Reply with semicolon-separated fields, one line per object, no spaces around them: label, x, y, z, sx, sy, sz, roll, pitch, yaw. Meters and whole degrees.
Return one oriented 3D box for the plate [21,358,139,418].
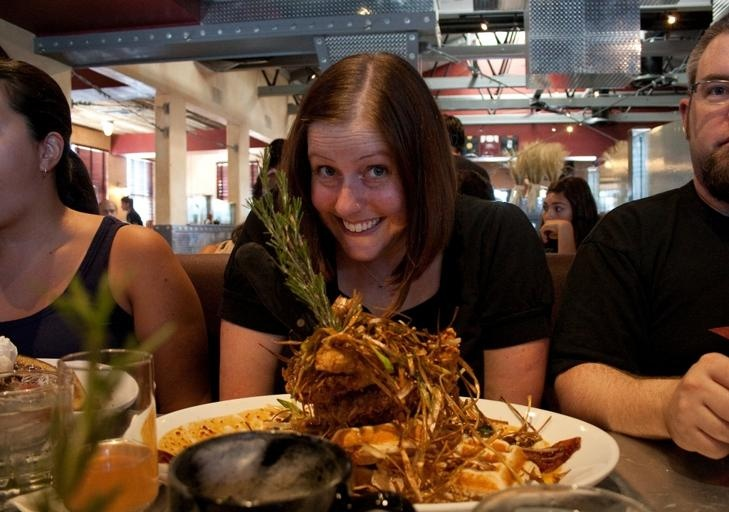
plate;-0.399;0.191;0.795;0.121;0.035;0.114;7;7;-4

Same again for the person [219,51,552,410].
person;0.045;-0.050;1.510;0.870;0.949;0.506;-3;8;-18
